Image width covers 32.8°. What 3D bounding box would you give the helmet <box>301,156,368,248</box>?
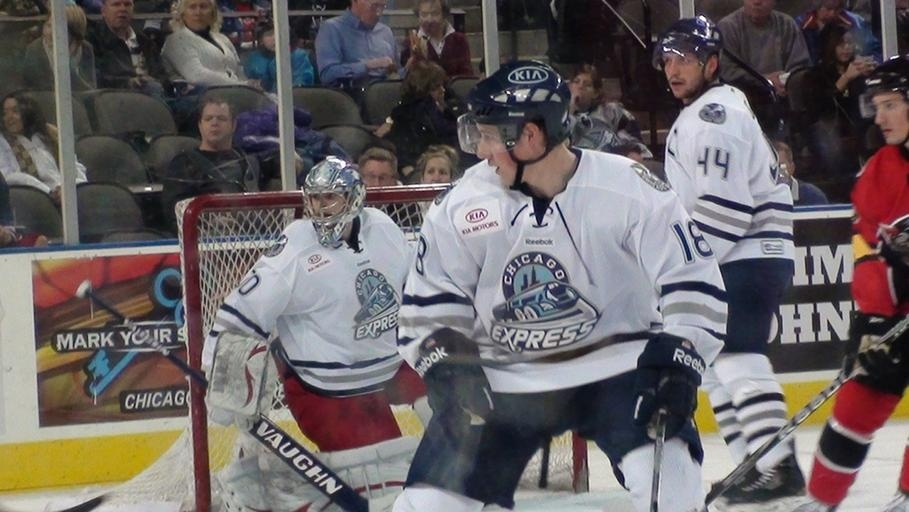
[{"bbox_3d":[-0.742,-0.359,9.914,0.405,0.510,0.485,0,7,24],"label":"helmet"}]

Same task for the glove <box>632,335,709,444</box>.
[{"bbox_3d":[1.174,0.701,8.449,0.384,0.545,0.185,-3,8,8],"label":"glove"}]

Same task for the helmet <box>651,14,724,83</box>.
[{"bbox_3d":[1.518,-1.360,10.071,0.434,0.434,0.523,8,7,19],"label":"helmet"}]

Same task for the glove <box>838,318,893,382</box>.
[{"bbox_3d":[2.483,0.549,9.279,0.349,0.369,0.290,-3,8,6],"label":"glove"}]
